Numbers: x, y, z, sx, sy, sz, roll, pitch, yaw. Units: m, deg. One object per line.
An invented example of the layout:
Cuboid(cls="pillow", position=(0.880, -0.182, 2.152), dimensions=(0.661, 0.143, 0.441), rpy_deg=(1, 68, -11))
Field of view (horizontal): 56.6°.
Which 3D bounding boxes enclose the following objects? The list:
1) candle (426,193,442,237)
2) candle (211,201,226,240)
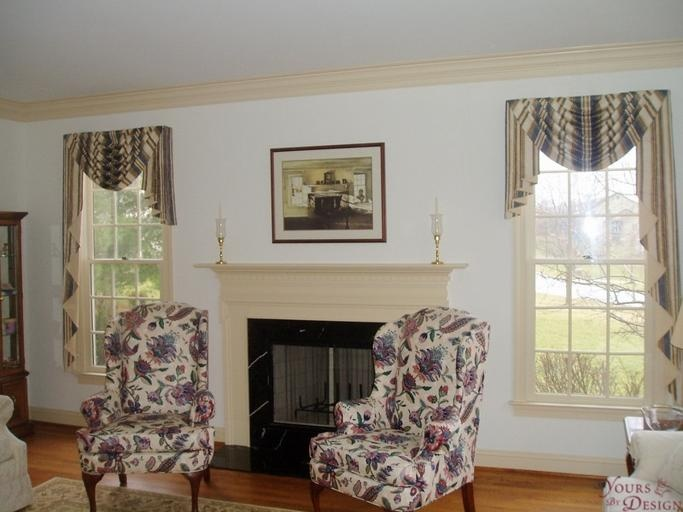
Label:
Cuboid(cls="candle", position=(0.750, -0.312, 5.065), dimensions=(0.093, 0.327, 0.198), rpy_deg=(1, -1, 8))
Cuboid(cls="candle", position=(-1.053, -0.297, 5.498), dimensions=(0.088, 0.318, 0.227), rpy_deg=(1, -1, -12))
